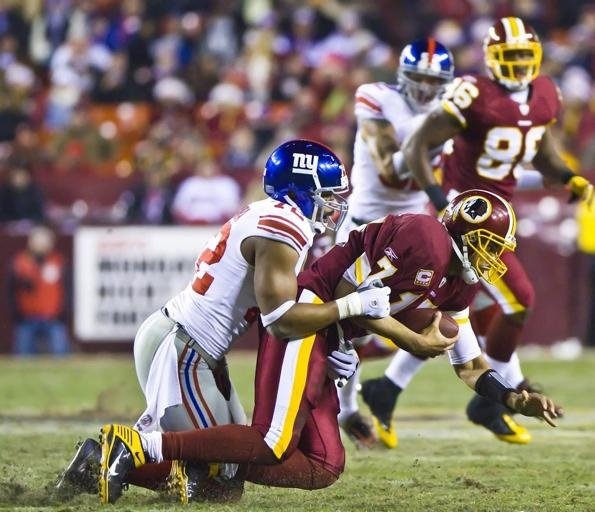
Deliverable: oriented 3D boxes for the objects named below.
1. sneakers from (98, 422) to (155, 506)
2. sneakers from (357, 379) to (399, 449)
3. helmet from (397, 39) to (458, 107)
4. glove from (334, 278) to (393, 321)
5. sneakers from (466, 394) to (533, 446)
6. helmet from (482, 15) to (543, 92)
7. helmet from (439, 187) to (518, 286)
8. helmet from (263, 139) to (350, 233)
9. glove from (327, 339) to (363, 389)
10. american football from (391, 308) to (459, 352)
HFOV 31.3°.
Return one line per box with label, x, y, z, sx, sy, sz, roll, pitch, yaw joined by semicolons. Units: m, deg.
sneakers;-0.827;0.963;5.064;0.209;0.475;0.161;0;11;-17
sneakers;0.521;0.974;6.635;0.252;0.421;0.255;1;3;3
helmet;0.868;-1.244;7.082;0.331;0.415;0.444;9;24;4
glove;0.331;0.213;5.139;0.218;0.155;0.105;-15;-20;-1
sneakers;1.241;0.998;6.497;0.405;0.199;0.134;28;29;22
helmet;1.355;-1.302;6.675;0.333;0.400;0.454;-4;20;-1
helmet;0.934;-0.111;5.550;0.456;0.491;0.381;19;4;12
helmet;0.037;-0.367;5.537;0.489;0.489;0.386;8;6;-2
glove;0.257;0.586;5.442;0.244;0.107;0.177;-34;-10;12
american football;0.663;0.362;5.472;0.149;0.173;0.300;5;-4;-42
